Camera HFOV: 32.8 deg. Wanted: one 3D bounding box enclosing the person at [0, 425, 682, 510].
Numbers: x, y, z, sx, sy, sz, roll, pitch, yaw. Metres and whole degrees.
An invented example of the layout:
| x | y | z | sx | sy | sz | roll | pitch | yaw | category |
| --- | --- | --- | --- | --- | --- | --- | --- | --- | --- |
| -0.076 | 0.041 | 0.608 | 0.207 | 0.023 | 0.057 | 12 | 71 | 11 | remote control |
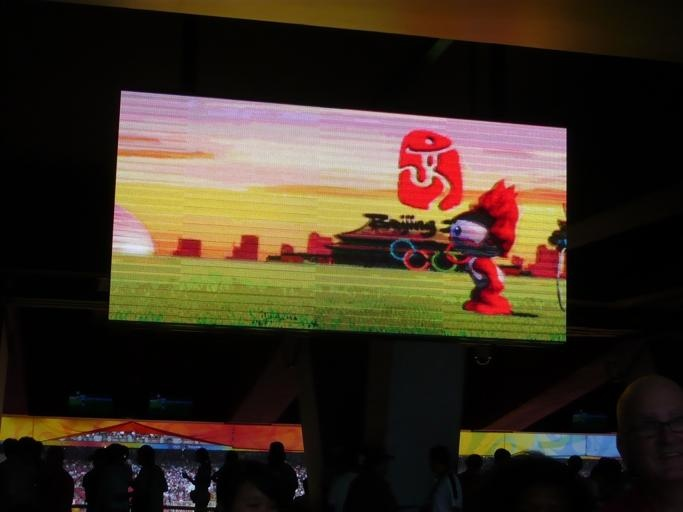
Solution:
| x | y | z | sx | sy | sz | roll | pitch | yaw | category |
| --- | --- | --- | --- | --- | --- | --- | --- | --- | --- |
| -0.195 | 0.845 | 4.682 | 2.325 | 0.344 | 0.195 | 2 | -8 | -2 | person |
